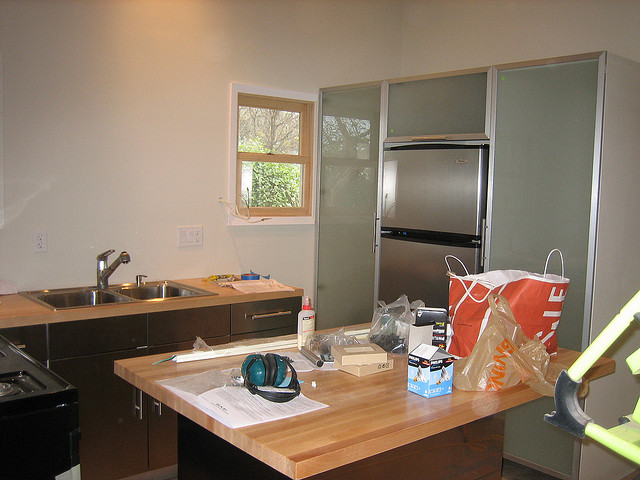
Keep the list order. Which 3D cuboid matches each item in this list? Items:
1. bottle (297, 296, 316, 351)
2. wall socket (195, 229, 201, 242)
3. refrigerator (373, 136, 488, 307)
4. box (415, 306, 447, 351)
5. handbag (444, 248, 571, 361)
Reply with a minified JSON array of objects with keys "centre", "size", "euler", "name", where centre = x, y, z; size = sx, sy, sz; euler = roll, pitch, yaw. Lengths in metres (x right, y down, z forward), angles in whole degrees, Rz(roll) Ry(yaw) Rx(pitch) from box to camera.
[{"centre":[-0.058,0.358,2.162],"size":[0.078,0.226,0.171],"euler":[0,8,-2],"name":"bottle"},{"centre":[-0.928,-0.031,3.780],"size":[0.012,0.092,0.048],"euler":[7,11,40],"name":"wall socket"},{"centre":[0.911,0.062,3.931],"size":[0.844,1.558,0.529],"euler":[8,11,40],"name":"refrigerator"},{"centre":[0.467,0.378,2.134],"size":[0.152,0.200,0.125],"euler":[0,3,-7],"name":"box"},{"centre":[0.800,0.301,2.167],"size":[0.424,0.438,0.509],"euler":[7,6,44],"name":"handbag"}]
